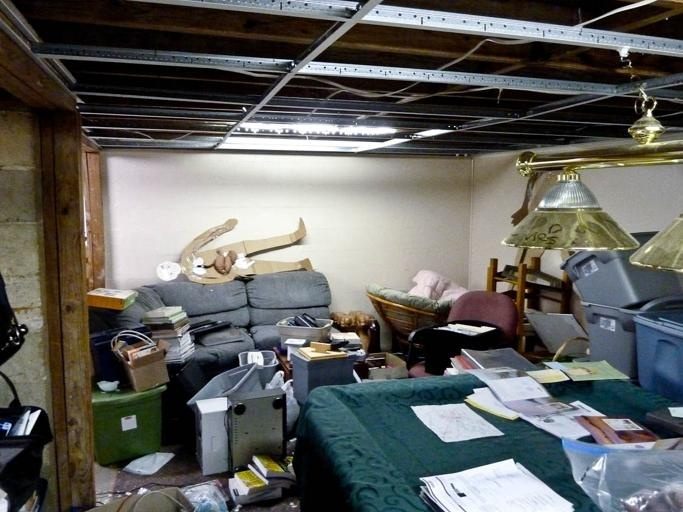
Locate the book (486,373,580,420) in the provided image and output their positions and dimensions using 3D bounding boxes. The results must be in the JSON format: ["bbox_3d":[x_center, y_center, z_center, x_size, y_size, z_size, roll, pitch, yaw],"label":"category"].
[{"bbox_3d":[0.976,0.731,2.733,0.327,0.078,0.384,-5,3,-11],"label":"book"}]

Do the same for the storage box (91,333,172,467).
[{"bbox_3d":[-1.586,1.047,3.857,0.600,0.852,0.383,-11,5,-27],"label":"storage box"}]

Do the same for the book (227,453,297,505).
[{"bbox_3d":[-0.535,1.481,3.424,0.453,0.097,0.287,-1,7,-20],"label":"book"}]

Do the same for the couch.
[{"bbox_3d":[-0.953,0.685,5.296,2.556,0.677,1.041,1,18,-40],"label":"couch"}]
